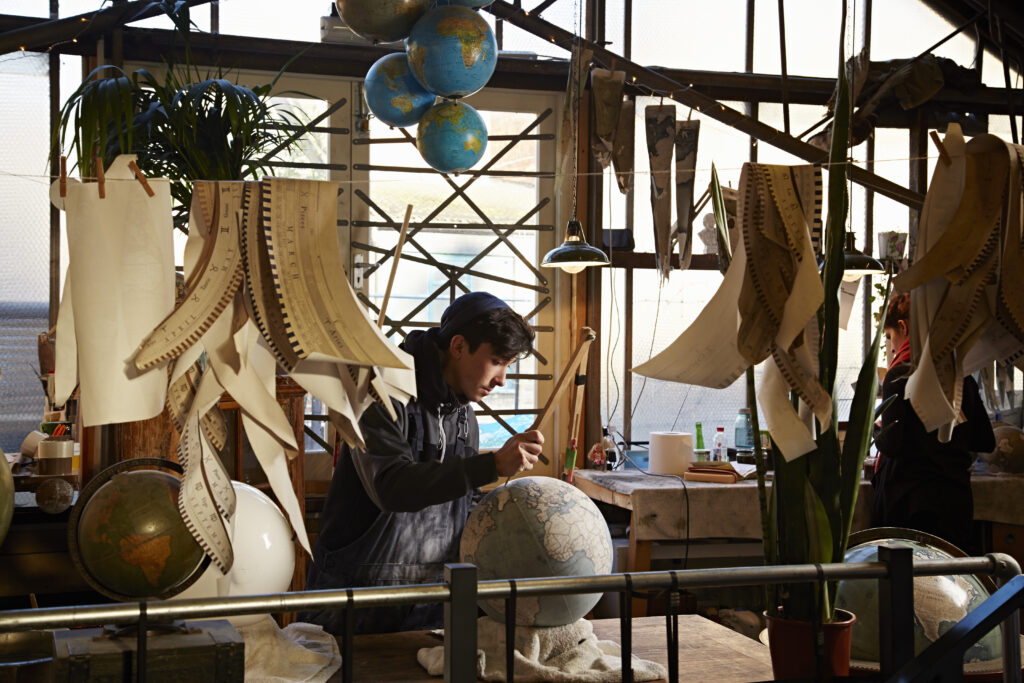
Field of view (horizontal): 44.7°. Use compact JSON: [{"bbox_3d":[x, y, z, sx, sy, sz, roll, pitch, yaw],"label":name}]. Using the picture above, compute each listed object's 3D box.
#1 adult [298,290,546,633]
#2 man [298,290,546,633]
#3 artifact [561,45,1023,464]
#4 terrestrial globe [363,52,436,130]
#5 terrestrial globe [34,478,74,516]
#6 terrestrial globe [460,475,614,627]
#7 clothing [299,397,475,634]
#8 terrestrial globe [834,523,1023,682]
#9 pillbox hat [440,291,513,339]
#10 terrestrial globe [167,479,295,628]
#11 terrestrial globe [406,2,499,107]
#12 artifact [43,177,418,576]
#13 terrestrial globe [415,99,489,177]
[{"bbox_3d":[-0.328,0.680,4.804,0.664,1.756,0.676,8,13,-1],"label":"adult"},{"bbox_3d":[-0.311,0.696,4.803,0.735,1.777,0.688,11,9,13],"label":"man"},{"bbox_3d":[0.898,-0.245,3.901,0.890,1.176,0.984,12,3,15],"label":"artifact"},{"bbox_3d":[-0.461,-1.048,5.065,0.264,0.353,0.276,18,34,41],"label":"terrestrial globe"},{"bbox_3d":[-1.974,0.664,5.457,0.143,0.177,0.158,-9,7,-6],"label":"terrestrial globe"},{"bbox_3d":[0.088,0.728,4.262,0.490,0.612,0.547,1,10,8],"label":"terrestrial globe"},{"bbox_3d":[-0.423,0.651,4.852,0.530,1.009,0.577,10,10,-12],"label":"clothing"},{"bbox_3d":[1.355,0.847,4.010,0.582,0.449,0.649,2,-4,16],"label":"terrestrial globe"},{"bbox_3d":[-0.143,-0.073,4.863,0.208,0.129,0.180,-27,-1,10],"label":"pillbox hat"},{"bbox_3d":[-0.819,0.661,3.943,0.328,0.459,0.466,4,-17,-1],"label":"terrestrial globe"},{"bbox_3d":[-0.187,-1.085,4.795,0.282,0.400,0.316,4,-17,12],"label":"terrestrial globe"},{"bbox_3d":[-0.794,0.081,3.558,1.030,1.102,0.225,3,-3,3],"label":"artifact"},{"bbox_3d":[-0.234,-0.795,5.017,0.261,0.357,0.278,-6,-3,32],"label":"terrestrial globe"}]
